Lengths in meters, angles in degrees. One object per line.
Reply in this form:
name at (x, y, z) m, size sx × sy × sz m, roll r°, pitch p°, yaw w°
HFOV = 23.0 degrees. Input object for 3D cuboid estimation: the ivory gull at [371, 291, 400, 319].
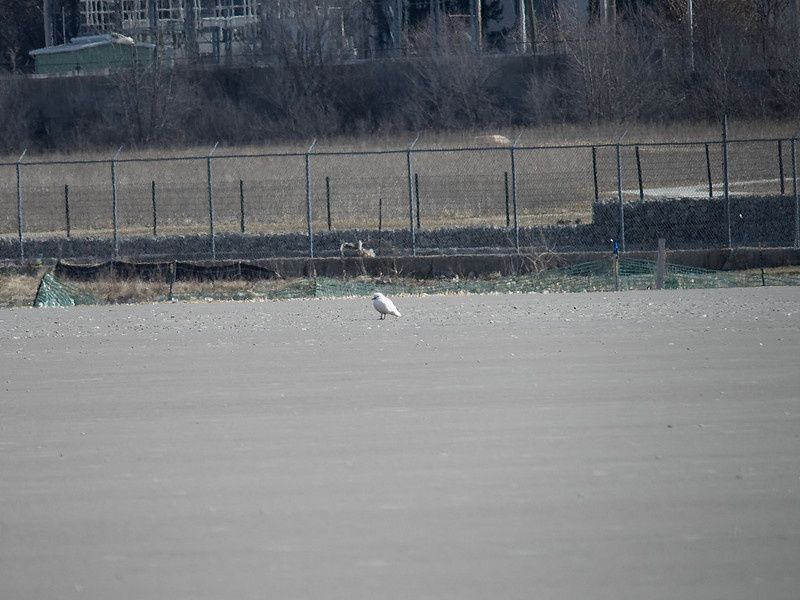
ivory gull at (-0.376, 0.101, 51.753) m, size 0.730 × 0.728 × 1.039 m, roll -2°, pitch 9°, yaw 0°
